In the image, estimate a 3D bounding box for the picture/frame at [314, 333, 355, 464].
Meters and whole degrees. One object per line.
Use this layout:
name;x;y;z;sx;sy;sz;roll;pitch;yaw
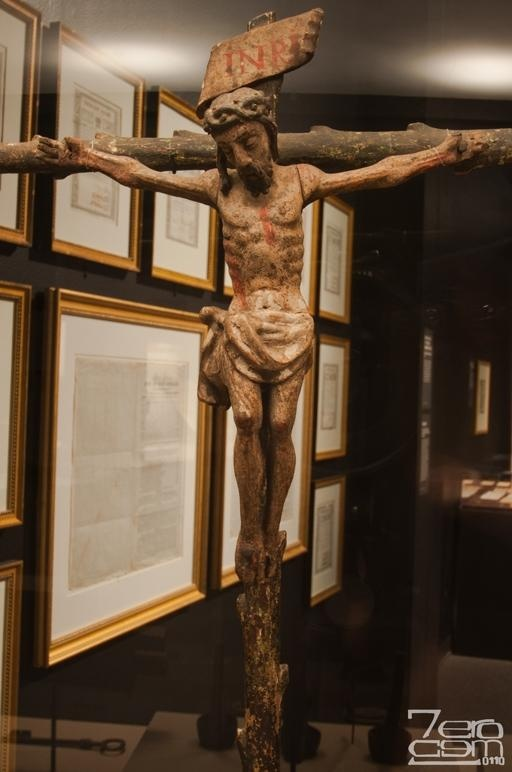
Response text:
picture/frame;0.202;0.037;2.021;0.114;0.313;0.013;-1;5;-38

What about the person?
person;0.017;-0.154;1.857;1.245;1.418;0.373;-1;-6;2
